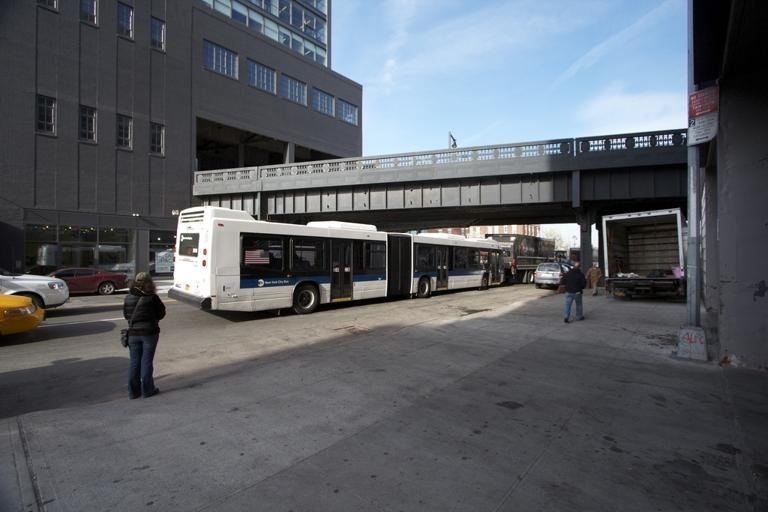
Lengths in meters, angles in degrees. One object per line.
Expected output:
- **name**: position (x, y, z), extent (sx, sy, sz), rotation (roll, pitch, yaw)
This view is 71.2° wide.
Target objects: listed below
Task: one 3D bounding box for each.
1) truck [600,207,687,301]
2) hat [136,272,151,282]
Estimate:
- **truck**: position (12.738, -0.156, 25.830), extent (2.898, 3.057, 5.441), rotation (0, 4, 32)
- **hat**: position (-5.260, 0.490, 11.727), extent (0.200, 0.299, 0.284), rotation (5, 16, -4)
